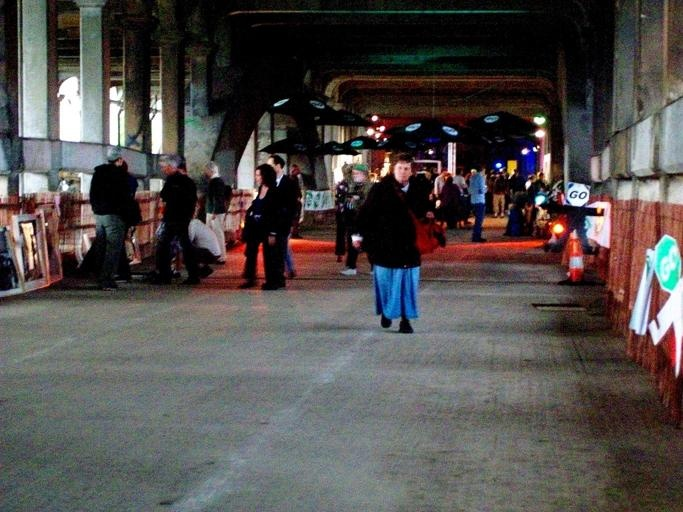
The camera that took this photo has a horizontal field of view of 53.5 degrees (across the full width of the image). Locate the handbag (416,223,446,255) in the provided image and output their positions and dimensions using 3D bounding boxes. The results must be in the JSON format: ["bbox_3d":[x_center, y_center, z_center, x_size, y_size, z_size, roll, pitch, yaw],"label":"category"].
[{"bbox_3d":[1.065,-0.222,8.361,0.272,0.353,0.428,-7,-7,29],"label":"handbag"}]

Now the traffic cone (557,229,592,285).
[{"bbox_3d":[4.506,0.011,12.949,0.585,0.974,0.566,-10,8,-36],"label":"traffic cone"}]

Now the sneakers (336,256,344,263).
[{"bbox_3d":[-0.034,0.088,16.758,0.116,0.177,0.163,-4,12,-33],"label":"sneakers"}]

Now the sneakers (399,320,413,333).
[{"bbox_3d":[0.810,0.871,8.341,0.095,0.230,0.217,3,-7,-24],"label":"sneakers"}]

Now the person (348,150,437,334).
[{"bbox_3d":[0.618,-0.149,8.310,0.948,2.150,0.465,0,4,7],"label":"person"}]

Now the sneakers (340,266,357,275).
[{"bbox_3d":[0.159,0.316,14.352,0.301,0.148,0.136,4,2,4],"label":"sneakers"}]

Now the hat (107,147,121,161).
[{"bbox_3d":[-4.160,-1.818,12.321,0.203,0.223,0.232,-1,4,-15],"label":"hat"}]
